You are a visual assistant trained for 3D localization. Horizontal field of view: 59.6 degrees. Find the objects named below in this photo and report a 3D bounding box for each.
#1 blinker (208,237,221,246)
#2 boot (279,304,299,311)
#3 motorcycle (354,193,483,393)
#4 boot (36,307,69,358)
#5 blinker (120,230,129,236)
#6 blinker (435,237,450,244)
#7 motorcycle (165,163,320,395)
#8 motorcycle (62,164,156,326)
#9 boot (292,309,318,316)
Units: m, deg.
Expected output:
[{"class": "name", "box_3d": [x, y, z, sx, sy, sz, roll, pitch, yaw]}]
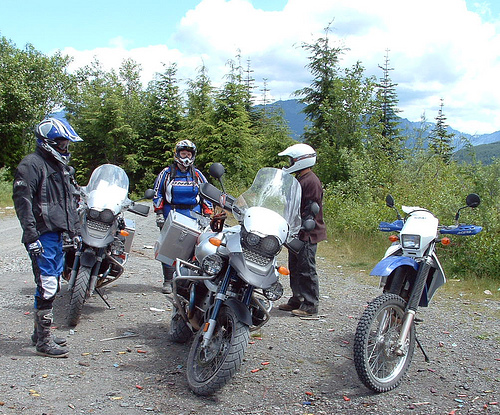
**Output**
[{"class": "blinker", "box_3d": [-0.352, 0.343, 4.488, 0.118, 0.081, 0.069, 3, 6, -6]}, {"class": "boot", "box_3d": [0.623, 1.603, 7.120, 0.240, 0.093, 0.093, 9, 0, 0]}, {"class": "motorcycle", "box_3d": [1.886, 0.889, 4.988, 1.038, 2.169, 1.785, 7, 7, 26]}, {"class": "boot", "box_3d": [-2.208, 1.385, 4.875, 0.408, 0.483, 0.187, 7, 7, 22]}, {"class": "blinker", "box_3d": [-1.848, 0.361, 6.409, 0.105, 0.097, 0.279, 4, -2, -19]}, {"class": "blinker", "box_3d": [2.282, 0.381, 5.176, 0.181, 0.069, 0.099, -1, -9, 40]}, {"class": "motorcycle", "box_3d": [-0.104, 0.672, 4.627, 1.509, 2.248, 1.254, 5, 6, 10]}, {"class": "motorcycle", "box_3d": [-2.084, 0.460, 6.241, 1.212, 2.163, 1.646, 4, 6, -2]}, {"class": "boot", "box_3d": [0.881, 1.609, 6.796, 0.345, 0.154, 0.134, 8, -11, -11]}]
